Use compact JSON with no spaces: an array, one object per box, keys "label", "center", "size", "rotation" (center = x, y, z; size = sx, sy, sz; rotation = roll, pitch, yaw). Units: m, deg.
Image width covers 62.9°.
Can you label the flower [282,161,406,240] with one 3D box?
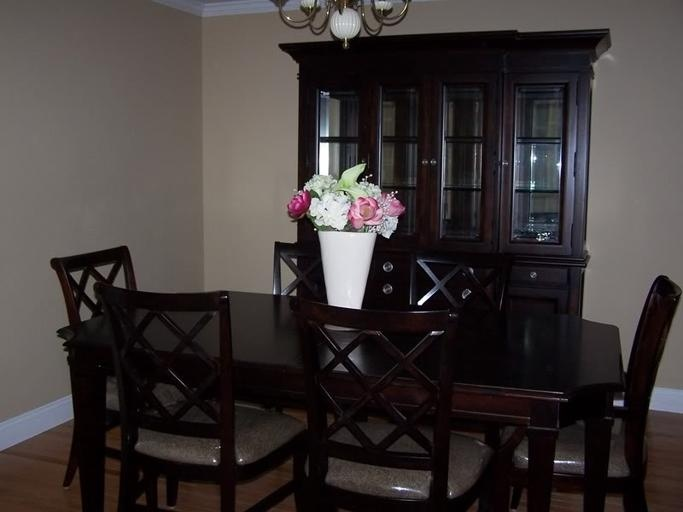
[{"label":"flower","center":[0.015,-0.223,2.386],"size":[0.347,0.247,0.348],"rotation":[7,16,34]}]

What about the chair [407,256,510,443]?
[{"label":"chair","center":[0.663,0.378,2.804],"size":[0.346,0.701,0.455],"rotation":[4,12,3]}]

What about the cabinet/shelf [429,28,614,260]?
[{"label":"cabinet/shelf","center":[1.089,-0.722,3.544],"size":[1.243,1.642,0.448],"rotation":[2,4,21]}]

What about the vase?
[{"label":"vase","center":[0.028,0.094,2.616],"size":[0.323,0.560,0.342],"rotation":[4,4,9]}]
